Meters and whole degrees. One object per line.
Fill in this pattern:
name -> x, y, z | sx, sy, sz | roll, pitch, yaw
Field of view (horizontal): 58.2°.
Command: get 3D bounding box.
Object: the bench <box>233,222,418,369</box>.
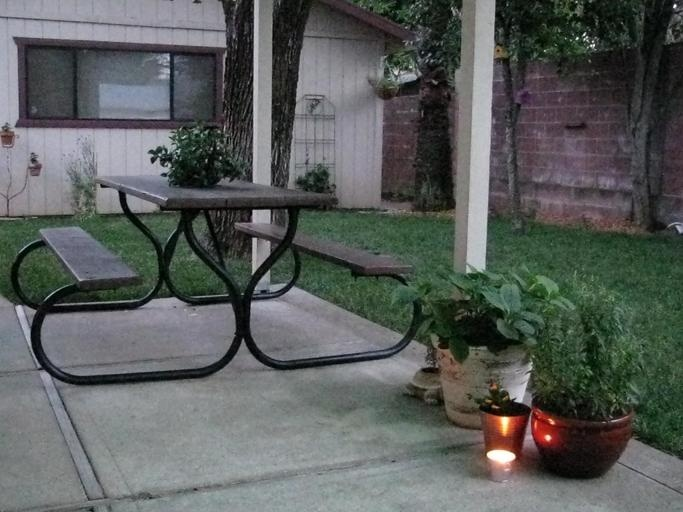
bench -> -0.064, 0.118, 3.676 | 0.729, 0.390, 1.577 | 6, 9, -27

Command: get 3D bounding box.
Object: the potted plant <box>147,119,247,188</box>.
potted plant -> -1.010, -0.672, 4.169 | 0.506, 0.415, 0.579 | -4, 14, -24

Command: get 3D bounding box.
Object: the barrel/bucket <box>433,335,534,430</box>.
barrel/bucket -> 0.643, 0.574, 2.881 | 0.410, 0.315, 0.406 | -1, 2, 0

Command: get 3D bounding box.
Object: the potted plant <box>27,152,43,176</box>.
potted plant -> -4.575, -1.355, 9.125 | 0.180, 0.368, 0.177 | -5, 13, -25

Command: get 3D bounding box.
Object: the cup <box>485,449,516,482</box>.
cup -> 0.644, 0.841, 2.470 | 0.110, 0.085, 0.112 | 2, 8, 0

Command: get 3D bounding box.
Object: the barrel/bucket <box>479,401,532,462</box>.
barrel/bucket -> 0.671, 0.715, 2.506 | 0.200, 0.181, 0.185 | 3, -4, 0

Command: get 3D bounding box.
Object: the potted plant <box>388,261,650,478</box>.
potted plant -> 0.831, 0.471, 2.705 | 0.878, 0.747, 0.470 | 10, 15, 38

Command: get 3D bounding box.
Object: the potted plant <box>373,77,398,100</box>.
potted plant -> 0.744, -2.924, 10.701 | 0.353, 0.352, 0.523 | -8, 15, -38
